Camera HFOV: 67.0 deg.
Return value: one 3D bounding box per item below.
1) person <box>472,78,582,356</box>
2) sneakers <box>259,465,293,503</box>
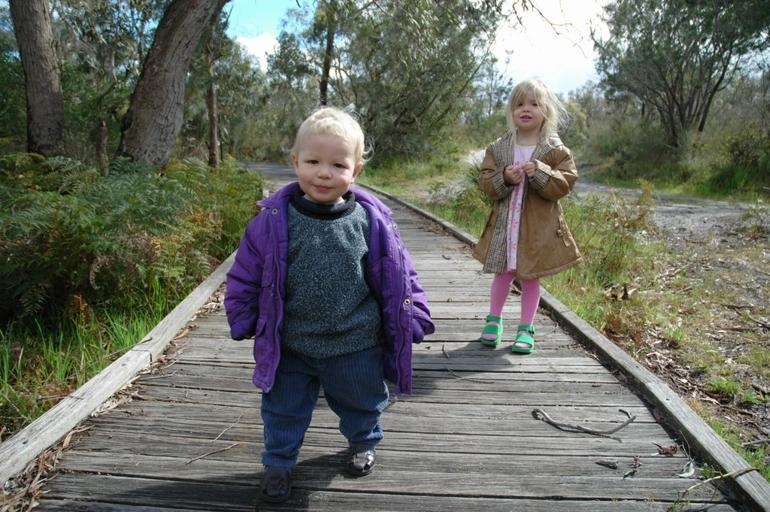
[{"bbox_3d":[1.246,-0.359,5.111,0.923,2.285,0.700,9,14,27],"label":"person"},{"bbox_3d":[-0.715,1.494,3.800,0.188,0.191,0.127,0,13,-10],"label":"sneakers"}]
